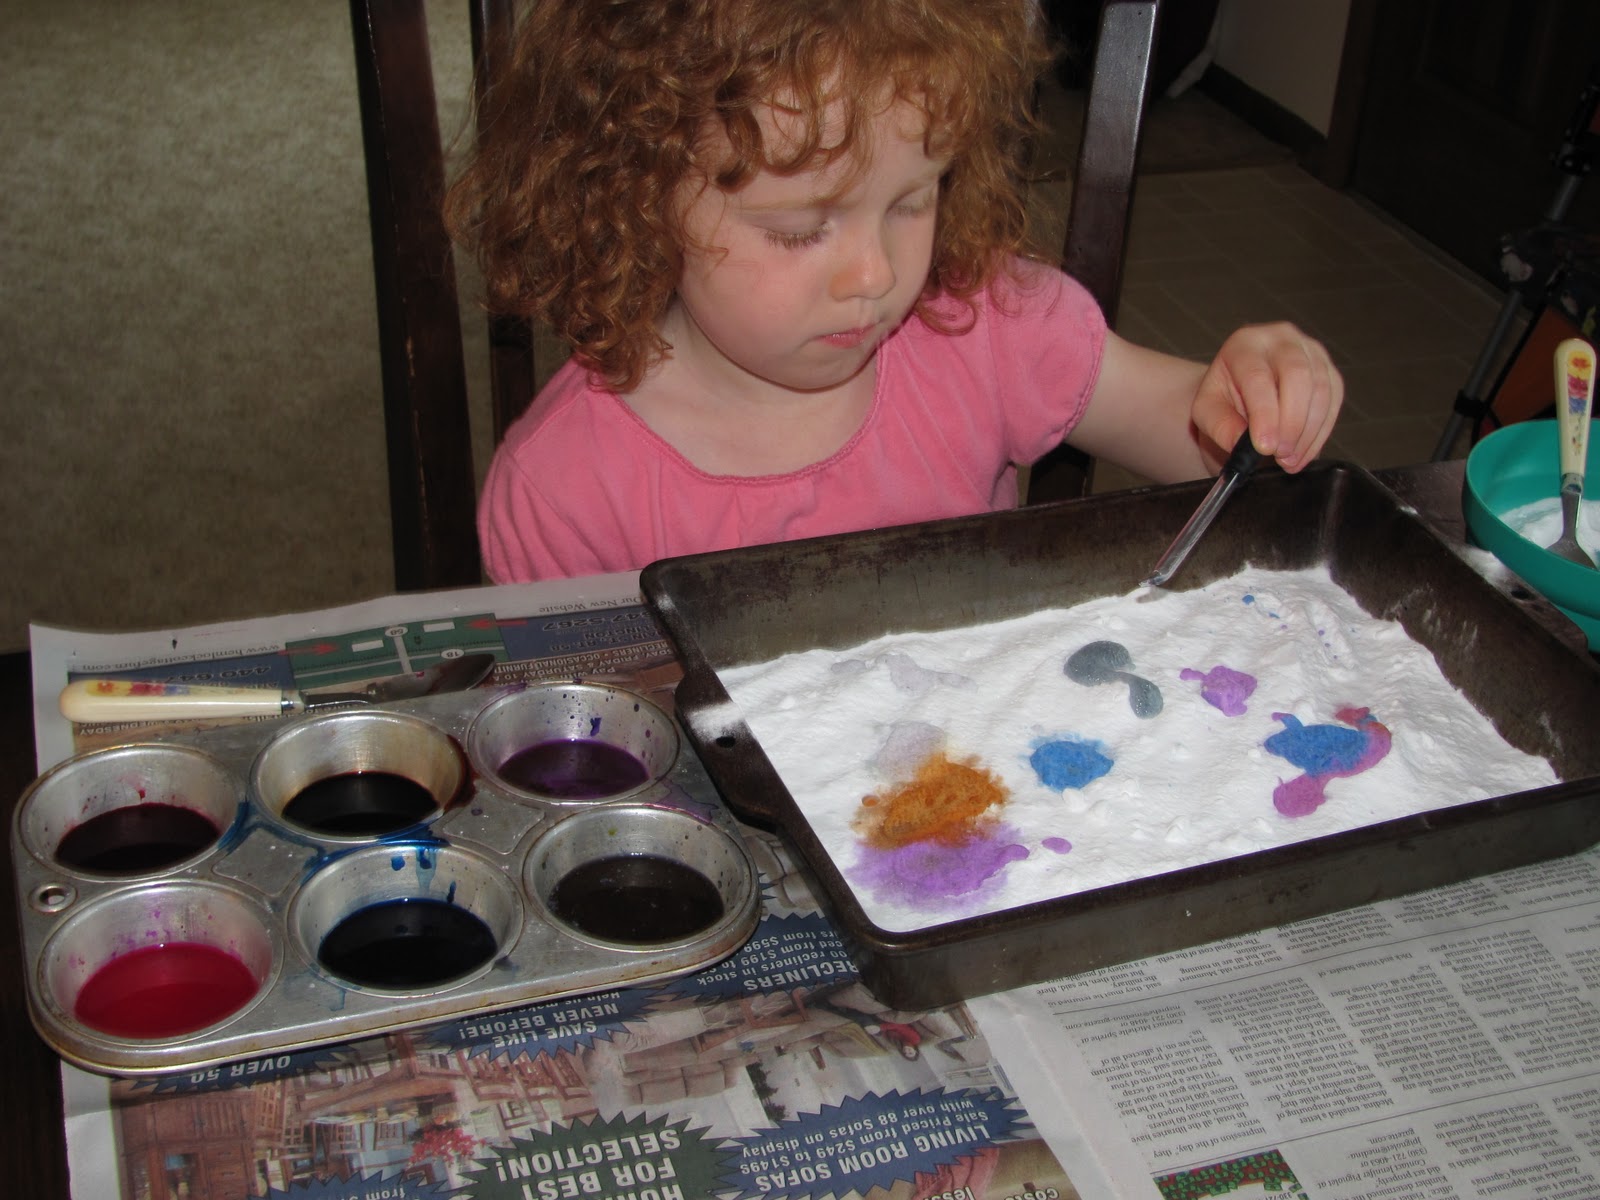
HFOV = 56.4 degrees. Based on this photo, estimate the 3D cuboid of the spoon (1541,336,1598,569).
[{"bbox_3d":[0.652,-0.124,1.297,0.050,0.199,0.031,-1,19,5],"label":"spoon"}]
